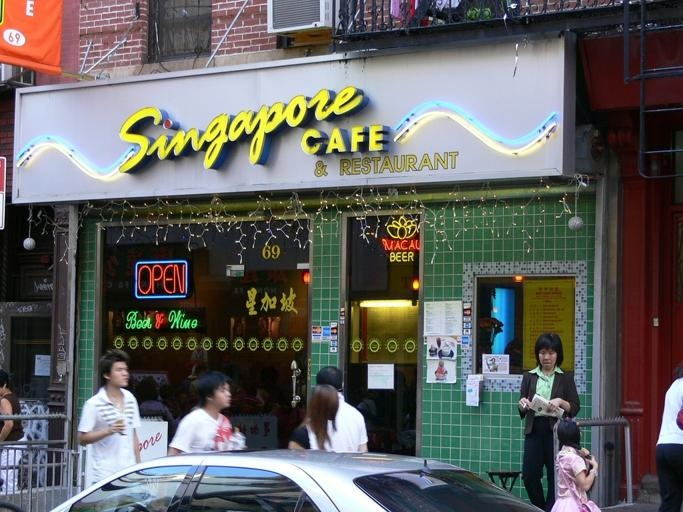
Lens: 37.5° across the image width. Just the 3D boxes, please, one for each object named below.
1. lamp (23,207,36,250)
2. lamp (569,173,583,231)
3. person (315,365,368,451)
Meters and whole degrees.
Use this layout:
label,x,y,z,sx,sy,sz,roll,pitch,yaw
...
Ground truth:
label,x,y,z,sx,sy,sz,roll,pitch,yaw
lamp,-5.067,-0.449,16.262,0.212,0.669,1.003,1,-6,-18
lamp,2.893,-0.609,12.444,0.187,0.599,0.118,-2,-6,13
person,0.075,1.534,9.837,0.453,1.022,0.290,-14,34,5
